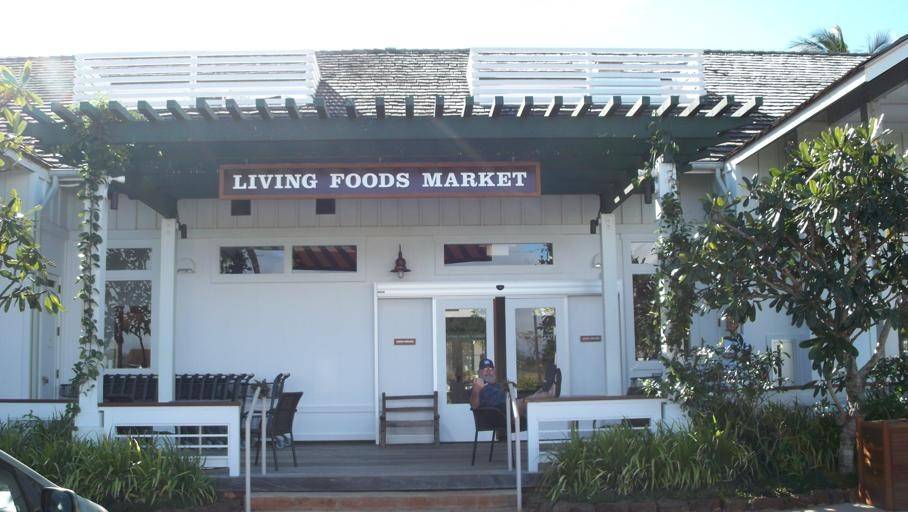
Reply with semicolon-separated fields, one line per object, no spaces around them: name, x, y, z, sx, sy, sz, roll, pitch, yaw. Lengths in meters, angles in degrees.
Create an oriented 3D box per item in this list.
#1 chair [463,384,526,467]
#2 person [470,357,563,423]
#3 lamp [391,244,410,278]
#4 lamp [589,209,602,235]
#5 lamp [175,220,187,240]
chair;0.578;3.178;23.137;1.352;1.933;1.561;-3;-10;5
person;1.107;2.529;23.738;1.802;1.034;0.982;-5;10;-20
lamp;-1.086;0.140;25.082;0.326;0.601;0.245;2;10;-2
lamp;2.876;-0.699;25.195;0.166;0.471;0.407;2;-14;-17
lamp;-5.509;-0.510;25.113;0.243;0.334;0.168;7;-16;-33
